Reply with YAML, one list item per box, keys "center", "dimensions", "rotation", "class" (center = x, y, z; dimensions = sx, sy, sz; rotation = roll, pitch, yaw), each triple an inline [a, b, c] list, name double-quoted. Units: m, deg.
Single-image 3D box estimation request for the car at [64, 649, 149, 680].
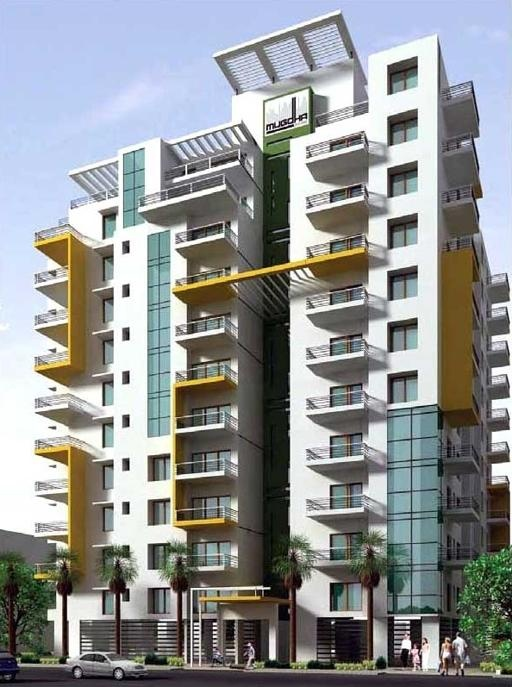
- center: [-7.439, 15.786, 73.800]
  dimensions: [3.576, 1.265, 1.543]
  rotation: [-12, -20, 30]
  class: "car"
